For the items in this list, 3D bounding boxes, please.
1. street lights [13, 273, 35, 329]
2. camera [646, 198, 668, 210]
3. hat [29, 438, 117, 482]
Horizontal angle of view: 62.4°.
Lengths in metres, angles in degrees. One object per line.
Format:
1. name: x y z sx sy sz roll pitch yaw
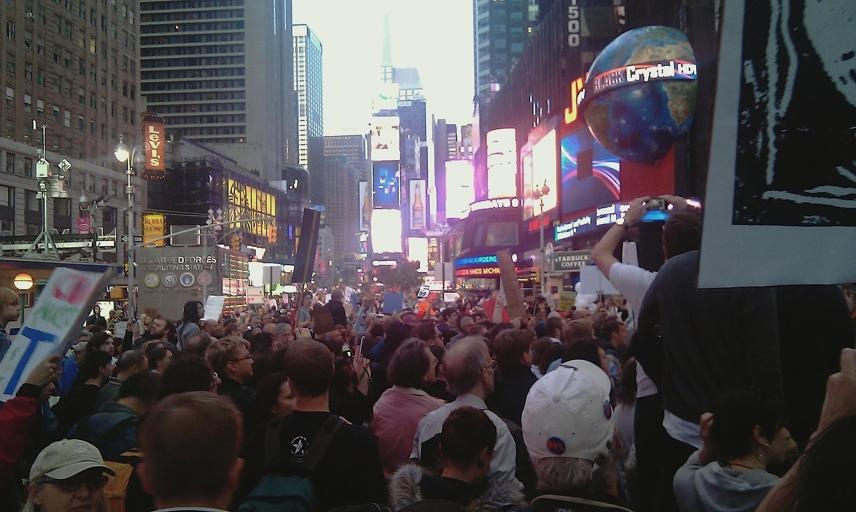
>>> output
1. street lights: -14.107 1.563 24.532 0.554 1.911 0.531 3 -2 -40
2. camera: 2.041 -0.475 6.257 0.194 0.131 0.045 0 14 -19
3. hat: -2.877 1.626 5.582 0.465 0.249 0.355 -20 -15 32
